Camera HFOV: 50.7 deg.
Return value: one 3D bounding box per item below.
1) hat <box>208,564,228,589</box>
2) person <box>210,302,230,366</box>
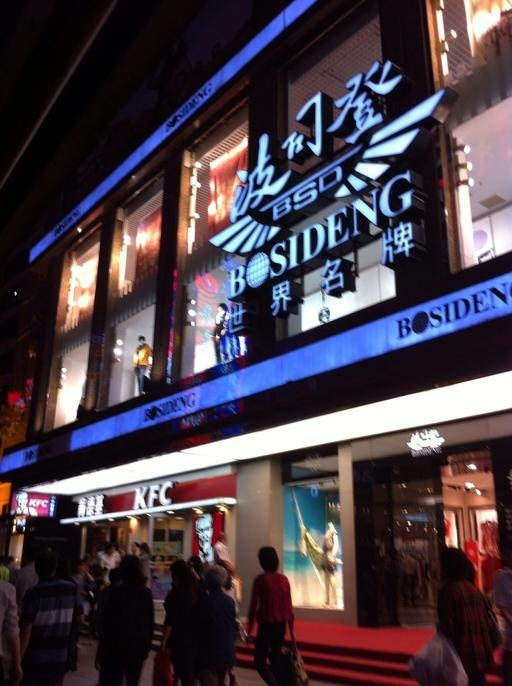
[{"bbox_3d":[-0.372,2.410,5.510,0.189,0.214,0.195,-12,-26,23],"label":"hat"},{"bbox_3d":[-0.841,-0.248,13.269,0.324,1.780,1.200,4,-18,-13],"label":"person"}]
